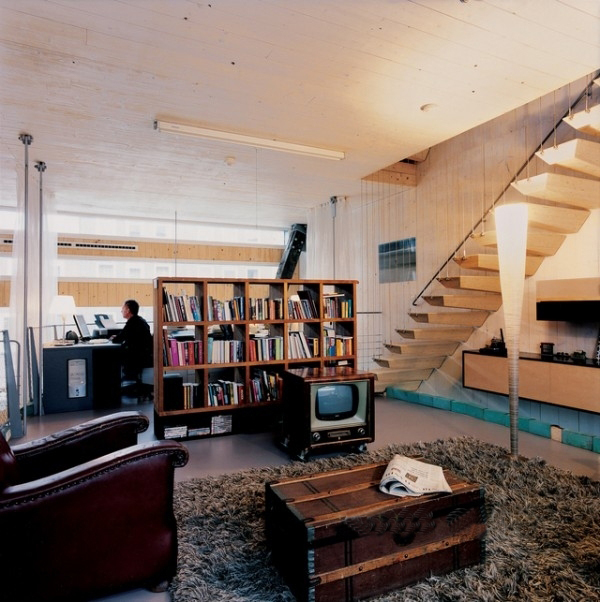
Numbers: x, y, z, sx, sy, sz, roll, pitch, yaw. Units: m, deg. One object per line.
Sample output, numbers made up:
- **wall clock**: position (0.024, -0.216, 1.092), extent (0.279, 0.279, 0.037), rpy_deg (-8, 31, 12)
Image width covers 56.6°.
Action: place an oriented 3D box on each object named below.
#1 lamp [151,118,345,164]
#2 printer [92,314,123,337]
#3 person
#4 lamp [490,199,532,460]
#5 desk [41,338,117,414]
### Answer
- **lamp**: position (-0.476, -1.629, 5.563), extent (1.927, 0.253, 0.201), rpy_deg (-4, 6, -29)
- **printer**: position (-2.776, 0.365, 8.265), extent (0.524, 0.403, 0.477), rpy_deg (-1, -2, 44)
- **person**: position (-2.047, 0.561, 6.660), extent (0.609, 1.079, 0.492), rpy_deg (6, 7, 1)
- **lamp**: position (1.797, 0.186, 4.743), extent (0.267, 2.040, 0.962), rpy_deg (1, 6, 22)
- **desk**: position (-2.548, 0.774, 6.561), extent (1.100, 0.853, 0.710), rpy_deg (0, -1, -24)
